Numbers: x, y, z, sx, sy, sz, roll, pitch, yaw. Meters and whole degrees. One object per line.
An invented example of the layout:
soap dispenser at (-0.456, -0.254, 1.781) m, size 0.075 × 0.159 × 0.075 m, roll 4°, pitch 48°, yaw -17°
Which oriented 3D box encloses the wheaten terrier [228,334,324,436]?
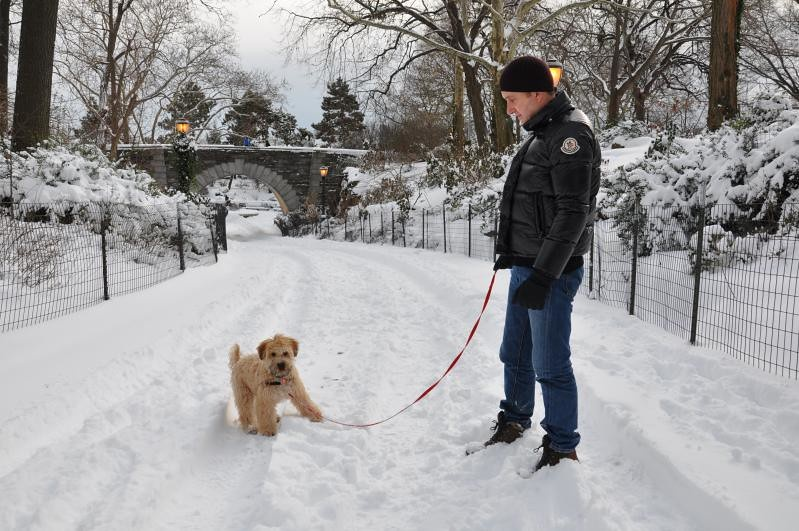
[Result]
wheaten terrier at (-1.923, 1.721, 9.384) m, size 1.423 × 1.433 × 0.637 m, roll 0°, pitch 7°, yaw 24°

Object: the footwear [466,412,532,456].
footwear at (1.340, 2.209, 8.640) m, size 0.712 × 0.542 × 0.283 m, roll -13°, pitch 32°, yaw 13°

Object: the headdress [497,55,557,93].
headdress at (1.685, -2.523, 8.214) m, size 0.714 × 0.539 × 0.725 m, roll -11°, pitch 16°, yaw -43°

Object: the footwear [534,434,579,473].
footwear at (1.959, 2.421, 8.273) m, size 0.678 × 0.549 × 0.284 m, roll -6°, pitch 4°, yaw -6°
